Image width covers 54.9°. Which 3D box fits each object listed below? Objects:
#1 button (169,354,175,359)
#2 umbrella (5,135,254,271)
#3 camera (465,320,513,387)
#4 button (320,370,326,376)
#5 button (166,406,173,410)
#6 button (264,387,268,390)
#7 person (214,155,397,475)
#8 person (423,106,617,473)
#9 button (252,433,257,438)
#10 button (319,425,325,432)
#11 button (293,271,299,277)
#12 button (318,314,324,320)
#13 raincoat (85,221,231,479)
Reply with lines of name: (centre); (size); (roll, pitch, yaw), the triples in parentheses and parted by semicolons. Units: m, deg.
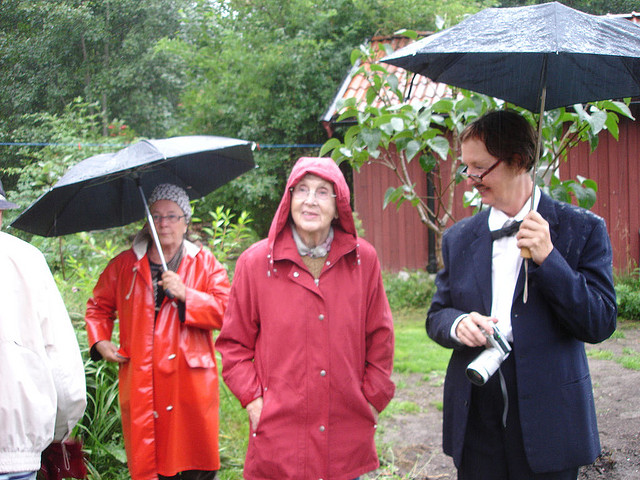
button: (-0.925, 0.725, 3.834); (0.037, 0.028, 0.007); (-10, 5, -11)
umbrella: (-1.302, -0.358, 4.080); (1.163, 0.694, 1.185); (-19, -8, -31)
camera: (0.809, 0.541, 2.980); (0.211, 0.286, 0.144); (-7, 6, -39)
button: (0.014, 0.687, 3.177); (0.029, 0.029, 0.007); (-4, 5, -1)
button: (-0.930, 1.040, 3.809); (0.034, 0.022, 0.008); (-4, 5, -3)
button: (-0.282, 0.777, 3.220); (0.016, 0.017, 0.004); (27, 8, 11)
person: (-0.075, 0.404, 3.282); (0.941, 1.688, 0.430); (-5, 5, -12)
person: (0.971, 0.272, 3.100); (0.933, 1.882, 0.553); (-1, 5, 27)
button: (-0.346, 1.022, 3.214); (0.018, 0.020, 0.005); (-13, -12, 38)
button: (0.009, 0.970, 3.164); (0.023, 0.026, 0.006); (-11, -7, -5)
button: (-0.126, 0.178, 3.236); (0.020, 0.022, 0.005); (1, -15, -3)
button: (0.006, 0.401, 3.197); (0.025, 0.028, 0.006); (-1, -3, -6)
raincoat: (-1.015, 0.700, 3.988); (0.897, 1.610, 0.550); (-5, 5, -16)
